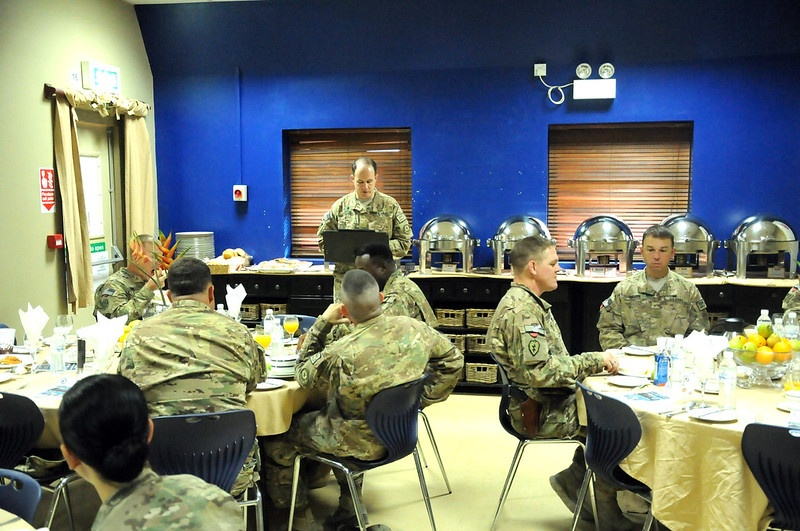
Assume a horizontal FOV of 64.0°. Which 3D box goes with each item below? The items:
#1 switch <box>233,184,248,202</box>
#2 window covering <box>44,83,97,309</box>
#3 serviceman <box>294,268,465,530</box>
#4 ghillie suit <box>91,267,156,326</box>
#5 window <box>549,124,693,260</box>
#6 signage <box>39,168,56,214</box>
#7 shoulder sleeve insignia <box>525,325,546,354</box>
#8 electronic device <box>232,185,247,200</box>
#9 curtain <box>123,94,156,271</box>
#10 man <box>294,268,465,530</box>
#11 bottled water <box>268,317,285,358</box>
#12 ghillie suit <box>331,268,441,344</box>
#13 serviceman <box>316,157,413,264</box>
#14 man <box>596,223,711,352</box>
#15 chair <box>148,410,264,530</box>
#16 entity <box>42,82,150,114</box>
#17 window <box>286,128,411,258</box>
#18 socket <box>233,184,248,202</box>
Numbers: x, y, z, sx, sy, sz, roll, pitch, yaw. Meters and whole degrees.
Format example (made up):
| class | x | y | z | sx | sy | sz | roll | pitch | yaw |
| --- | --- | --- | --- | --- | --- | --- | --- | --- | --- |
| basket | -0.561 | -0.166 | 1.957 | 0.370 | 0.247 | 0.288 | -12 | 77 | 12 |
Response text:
| class | x | y | z | sx | sy | sz | roll | pitch | yaw |
| --- | --- | --- | --- | --- | --- | --- | --- | --- | --- |
| switch | -1.704 | -0.780 | 6.855 | 0.195 | 0.184 | 0.104 | 1 | 0 | 5 |
| window covering | -3.033 | -0.588 | 5.909 | 0.156 | 2.052 | 0.355 | 3 | 6 | 26 |
| serviceman | -0.152 | 0.809 | 3.651 | 0.960 | 1.590 | 0.454 | 0 | 6 | -10 |
| ghillie suit | -1.963 | 0.195 | 4.656 | 0.332 | 0.483 | 0.375 | 8 | 8 | -36 |
| window | 2.208 | -0.857 | 6.629 | 1.379 | 0.031 | 1.348 | 2 | -39 | 16 |
| signage | -3.164 | -0.674 | 5.755 | 0.040 | 0.400 | 0.156 | 2 | 6 | 13 |
| shoulder sleeve insignia | 0.792 | 0.433 | 3.765 | 0.122 | 0.155 | 0.155 | 0 | 49 | 21 |
| electronic device | -1.711 | -0.780 | 6.851 | 0.175 | 0.166 | 0.091 | 1 | 1 | 3 |
| curtain | -2.704 | -1.013 | 6.605 | 0.252 | 1.188 | 0.133 | 7 | 8 | -3 |
| man | -0.152 | 0.783 | 3.647 | 0.959 | 1.537 | 0.451 | 0 | 6 | -10 |
| bottled water | -0.769 | 0.454 | 4.019 | 0.121 | 0.217 | 0.120 | 1 | 0 | 25 |
| ghillie suit | -0.103 | 0.267 | 4.231 | 0.599 | 0.369 | 0.445 | -2 | 1 | 1 |
| serviceman | -0.330 | -0.495 | 6.007 | 0.986 | 0.918 | 0.491 | 4 | 16 | 16 |
| man | 1.836 | 0.358 | 4.621 | 0.795 | 1.137 | 0.625 | -1 | 11 | 6 |
| chair | -0.947 | 0.930 | 3.087 | 0.418 | 0.676 | 0.459 | -2 | 13 | -12 |
| entity | -2.914 | -1.582 | 6.071 | 0.113 | 0.126 | 0.599 | -29 | -10 | 25 |
| window | -0.477 | -0.793 | 6.410 | 1.477 | 1.400 | 0.114 | 1 | 4 | 4 |
| socket | -1.704 | -0.780 | 6.855 | 0.195 | 0.184 | 0.104 | 1 | 0 | 5 |
